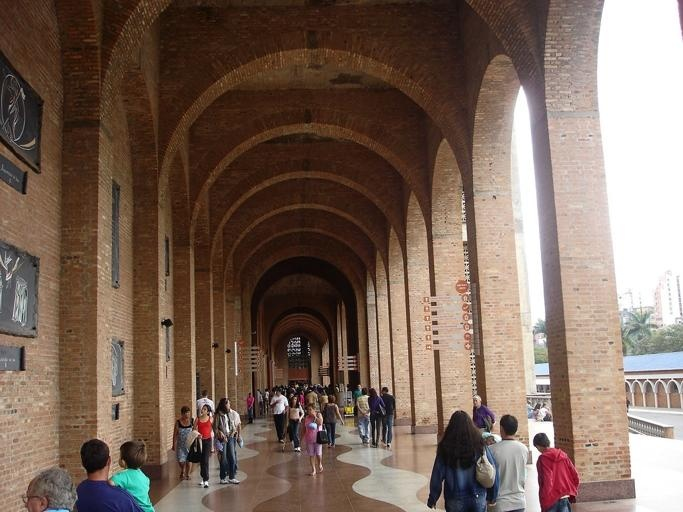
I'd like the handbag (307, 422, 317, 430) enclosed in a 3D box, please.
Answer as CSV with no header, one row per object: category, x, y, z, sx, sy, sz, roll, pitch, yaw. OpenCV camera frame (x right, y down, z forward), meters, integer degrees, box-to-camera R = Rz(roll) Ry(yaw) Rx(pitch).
handbag,-0.660,3.787,12.706,0.163,0.083,0.137,-20,-62,42

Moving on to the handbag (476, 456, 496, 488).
handbag,1.298,1.930,5.156,0.177,0.288,0.132,-7,-15,14

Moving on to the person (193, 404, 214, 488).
person,-2.895,3.957,11.959,0.340,1.663,0.570,1,-15,-15

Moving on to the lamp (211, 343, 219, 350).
lamp,-4.941,3.517,22.259,0.304,0.162,0.453,0,-2,-3

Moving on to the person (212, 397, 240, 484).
person,-2.409,3.884,12.049,0.495,1.760,0.883,0,-15,-11

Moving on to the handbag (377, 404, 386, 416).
handbag,1.193,4.521,16.826,0.103,0.313,0.315,2,-16,-18

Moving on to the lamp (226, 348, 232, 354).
lamp,-4.896,4.090,24.670,0.233,0.194,0.240,-4,-10,24
